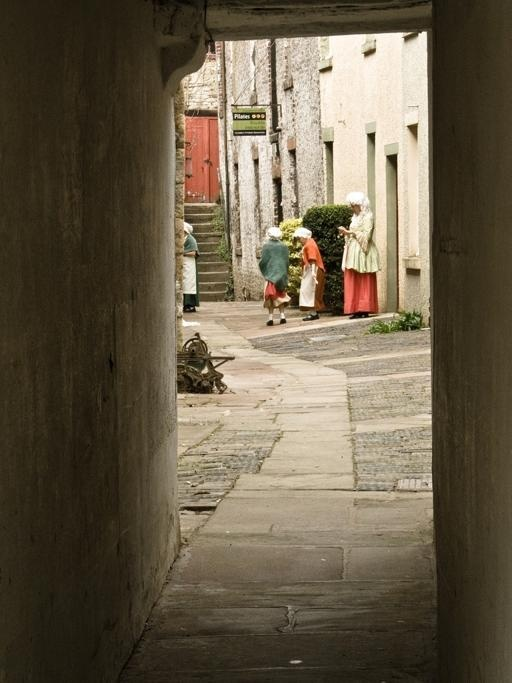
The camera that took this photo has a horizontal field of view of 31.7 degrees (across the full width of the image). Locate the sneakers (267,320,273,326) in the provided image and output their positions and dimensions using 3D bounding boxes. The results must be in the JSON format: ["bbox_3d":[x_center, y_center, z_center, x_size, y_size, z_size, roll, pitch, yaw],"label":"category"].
[{"bbox_3d":[0.268,-0.343,16.822,0.107,0.162,0.083,1,-13,0],"label":"sneakers"}]

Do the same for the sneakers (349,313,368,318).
[{"bbox_3d":[1.883,-0.468,16.335,0.283,0.148,0.128,6,5,1],"label":"sneakers"}]

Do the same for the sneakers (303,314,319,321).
[{"bbox_3d":[1.032,-0.452,17.062,0.306,0.151,0.126,3,5,11],"label":"sneakers"}]

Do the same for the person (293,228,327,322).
[{"bbox_3d":[1.036,-1.271,17.090,0.520,1.753,0.794,-2,4,5],"label":"person"}]

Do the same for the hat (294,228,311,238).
[{"bbox_3d":[0.890,-2.053,17.114,0.214,0.203,0.214,-8,19,-19],"label":"hat"}]

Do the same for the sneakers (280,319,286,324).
[{"bbox_3d":[0.514,-0.370,16.919,0.089,0.087,0.140,-1,-9,10],"label":"sneakers"}]

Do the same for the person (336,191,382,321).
[{"bbox_3d":[1.861,-1.537,16.191,0.661,2.214,0.505,-1,3,9],"label":"person"}]
